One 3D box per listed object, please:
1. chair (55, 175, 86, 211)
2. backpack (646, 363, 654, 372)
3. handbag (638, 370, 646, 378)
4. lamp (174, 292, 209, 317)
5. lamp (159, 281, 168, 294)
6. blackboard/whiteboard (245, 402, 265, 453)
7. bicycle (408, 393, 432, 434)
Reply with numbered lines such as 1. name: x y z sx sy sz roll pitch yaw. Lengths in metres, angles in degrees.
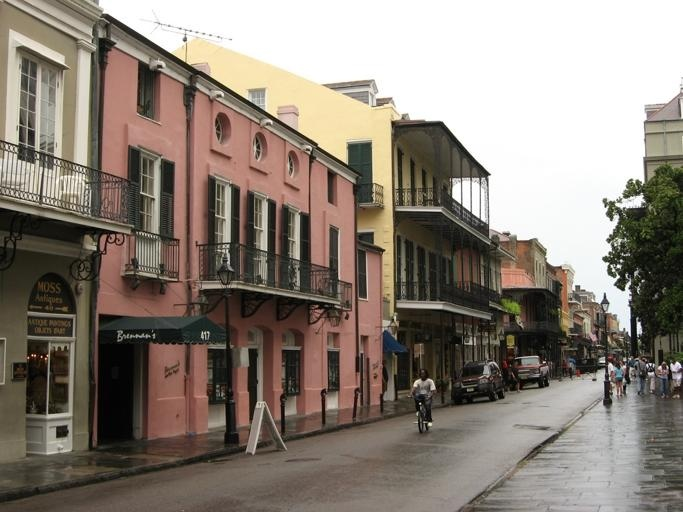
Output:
1. chair: -6.316 -1.477 22.652 0.635 0.991 0.640 3 -5 -36
2. backpack: 14.678 5.340 45.909 0.240 0.523 0.488 1 -2 18
3. handbag: 13.535 5.353 43.512 0.377 0.371 0.590 3 -4 22
4. lamp: -4.191 1.224 27.303 0.530 1.210 0.886 -2 -5 19
5. lamp: -4.907 0.893 26.578 0.206 0.307 0.507 -2 -15 -10
6. blackboard/whiteboard: -2.052 4.255 23.996 0.415 1.299 0.465 5 -2 -10
7. bicycle: 2.285 4.511 28.182 0.687 1.144 1.669 4 5 -2
